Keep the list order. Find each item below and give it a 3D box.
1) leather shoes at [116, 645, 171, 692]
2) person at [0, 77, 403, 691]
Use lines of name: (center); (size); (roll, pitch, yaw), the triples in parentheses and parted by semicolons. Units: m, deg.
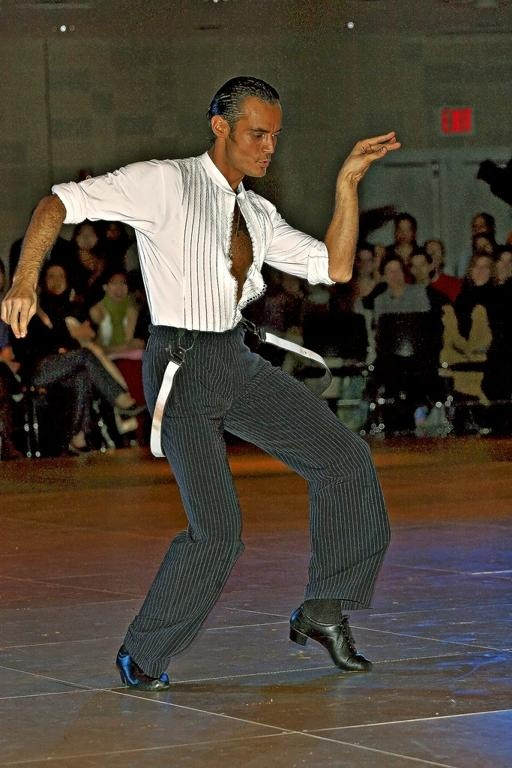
leather shoes: (-0.299, 0.738, 2.309); (0.165, 0.088, 0.080); (6, 6, 21)
person: (-0.134, 0.013, 2.365); (1.057, 1.666, 0.445); (3, 7, -27)
